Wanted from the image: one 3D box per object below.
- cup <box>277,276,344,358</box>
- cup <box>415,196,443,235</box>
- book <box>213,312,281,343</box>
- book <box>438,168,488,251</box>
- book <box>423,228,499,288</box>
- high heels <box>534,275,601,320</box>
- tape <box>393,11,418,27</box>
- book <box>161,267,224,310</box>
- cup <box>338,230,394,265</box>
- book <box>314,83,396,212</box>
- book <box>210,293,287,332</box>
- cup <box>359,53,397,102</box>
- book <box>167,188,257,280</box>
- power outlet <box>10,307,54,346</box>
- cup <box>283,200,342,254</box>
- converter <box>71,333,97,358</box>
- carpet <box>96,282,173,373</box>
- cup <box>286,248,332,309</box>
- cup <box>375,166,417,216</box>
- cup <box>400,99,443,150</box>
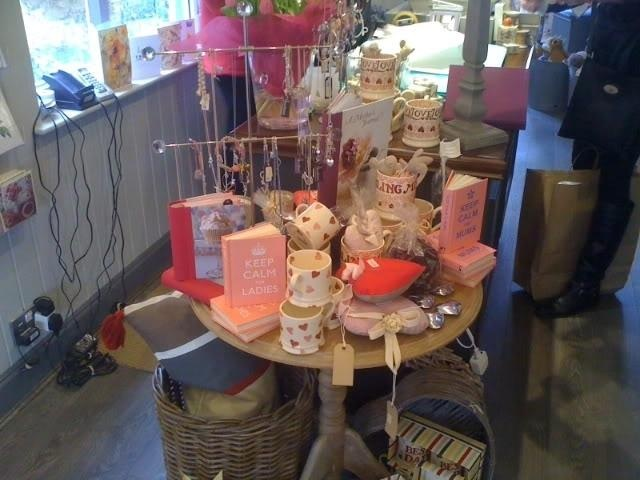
[{"bbox_3d":[-0.032,0.202,1.327,0.123,0.134,0.204,23,37,31],"label":"cup"},{"bbox_3d":[0.372,-0.074,1.613,0.075,0.120,0.117,8,18,-10],"label":"cup"},{"bbox_3d":[-0.204,0.234,1.302,0.091,0.023,0.091,25,33,34],"label":"book"},{"bbox_3d":[0.428,-0.091,1.476,0.162,0.219,0.093,-20,32,-35],"label":"book"},{"bbox_3d":[0.427,0.022,1.451,0.181,0.046,0.181,-28,46,-30],"label":"book"},{"bbox_3d":[1.345,0.326,2.580,0.321,0.144,0.111,-15,37,5],"label":"high heels"},{"bbox_3d":[0.632,-1.671,3.588,0.174,0.094,0.324,2,26,6],"label":"tape"},{"bbox_3d":[-0.383,0.134,1.426,0.127,0.031,0.128,27,25,29],"label":"book"},{"bbox_3d":[0.142,0.036,1.444,0.120,0.089,0.093,-3,37,-6],"label":"cup"},{"bbox_3d":[0.074,-0.287,1.621,0.101,0.307,0.306,13,19,23],"label":"book"},{"bbox_3d":[-0.190,0.196,1.305,0.110,0.028,0.111,19,31,34],"label":"book"},{"bbox_3d":[0.244,-0.670,1.971,0.140,0.159,0.146,-1,24,0],"label":"cup"},{"bbox_3d":[-0.317,-0.010,1.442,0.221,0.248,0.112,-8,28,-24],"label":"book"},{"bbox_3d":[-1.327,0.398,2.180,0.050,0.150,0.152,11,22,11],"label":"power outlet"},{"bbox_3d":[-0.028,-0.047,1.420,0.117,0.111,0.168,-32,20,-23],"label":"cup"},{"bbox_3d":[-1.185,0.537,2.394,0.082,0.038,0.105,5,40,5],"label":"converter"},{"bbox_3d":[-0.991,0.497,2.570,0.369,0.095,0.394,-1,70,-12],"label":"carpet"},{"bbox_3d":[-0.038,0.105,1.246,0.113,0.114,0.145,19,31,33],"label":"cup"},{"bbox_3d":[0.241,-0.158,1.610,0.132,0.156,0.140,-1,32,0],"label":"cup"},{"bbox_3d":[0.415,-0.478,1.935,0.144,0.165,0.152,-3,34,2],"label":"cup"}]
